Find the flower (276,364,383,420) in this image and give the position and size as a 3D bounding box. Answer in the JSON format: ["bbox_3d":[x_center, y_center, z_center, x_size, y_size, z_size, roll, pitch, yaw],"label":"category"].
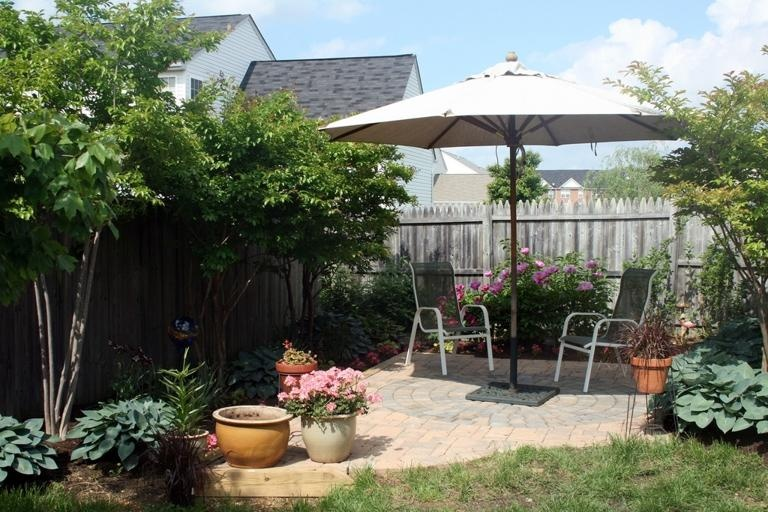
[{"bbox_3d":[-0.600,1.334,6.614,0.761,0.562,0.973,-4,0,41],"label":"flower"}]

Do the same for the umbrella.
[{"bbox_3d":[1.739,-0.377,9.595,4.157,3.925,3.986,-23,28,-37],"label":"umbrella"}]

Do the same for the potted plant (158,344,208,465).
[{"bbox_3d":[-1.820,1.396,6.349,0.402,0.922,0.414,-8,-9,12],"label":"potted plant"}]

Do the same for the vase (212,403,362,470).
[{"bbox_3d":[-0.879,1.627,6.285,0.876,0.342,0.643,0,-5,4],"label":"vase"}]

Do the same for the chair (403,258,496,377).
[{"bbox_3d":[0.885,0.847,9.583,0.967,1.536,1.107,-1,0,-20],"label":"chair"}]

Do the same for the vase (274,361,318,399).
[{"bbox_3d":[-0.960,1.352,7.620,0.351,0.389,0.359,0,-3,-8],"label":"vase"}]
